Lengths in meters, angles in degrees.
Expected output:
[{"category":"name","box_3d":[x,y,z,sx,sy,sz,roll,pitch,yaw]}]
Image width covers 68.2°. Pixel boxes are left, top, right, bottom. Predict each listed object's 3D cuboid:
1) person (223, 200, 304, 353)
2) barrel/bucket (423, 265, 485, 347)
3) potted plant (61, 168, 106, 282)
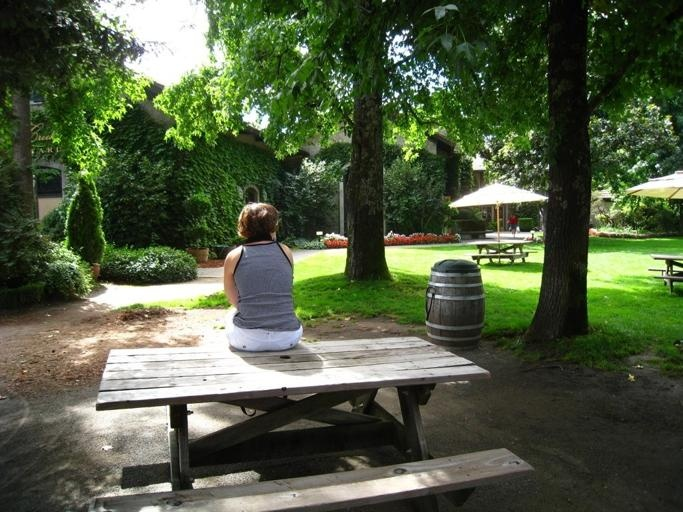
[{"category":"person","box_3d":[-0.697,0.203,4.610,0.661,1.306,0.302,-1,5,-15]},{"category":"barrel/bucket","box_3d":[1.708,0.735,7.646,0.890,1.167,0.835,-1,1,0]},{"category":"potted plant","box_3d":[-7.431,-0.867,14.813,0.958,2.980,0.615,-2,6,-26]}]
